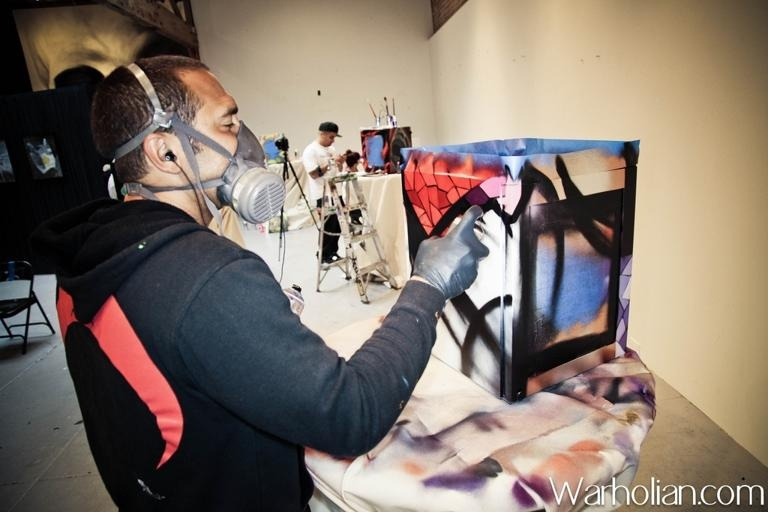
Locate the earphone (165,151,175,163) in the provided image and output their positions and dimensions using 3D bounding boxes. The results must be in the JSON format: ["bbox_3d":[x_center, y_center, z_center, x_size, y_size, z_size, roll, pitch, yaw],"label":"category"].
[{"bbox_3d":[-0.669,-0.308,1.622,0.021,0.030,0.010,-24,23,14],"label":"earphone"}]

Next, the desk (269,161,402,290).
[{"bbox_3d":[-0.399,-0.235,4.538,1.065,1.545,1.083,-7,20,-18],"label":"desk"}]

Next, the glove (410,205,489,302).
[{"bbox_3d":[0.248,-0.008,1.706,0.289,0.215,0.168,-16,13,-40],"label":"glove"}]
